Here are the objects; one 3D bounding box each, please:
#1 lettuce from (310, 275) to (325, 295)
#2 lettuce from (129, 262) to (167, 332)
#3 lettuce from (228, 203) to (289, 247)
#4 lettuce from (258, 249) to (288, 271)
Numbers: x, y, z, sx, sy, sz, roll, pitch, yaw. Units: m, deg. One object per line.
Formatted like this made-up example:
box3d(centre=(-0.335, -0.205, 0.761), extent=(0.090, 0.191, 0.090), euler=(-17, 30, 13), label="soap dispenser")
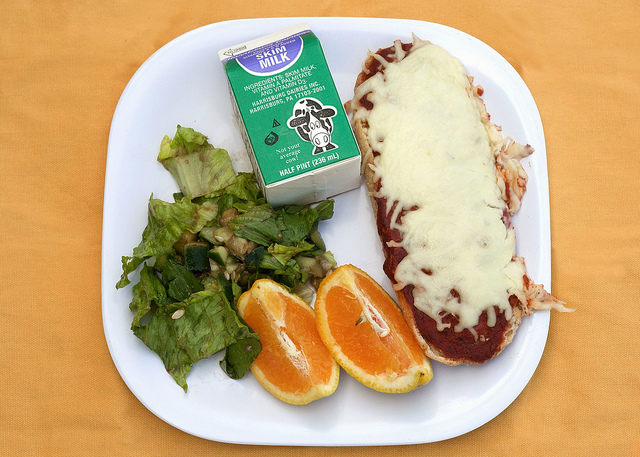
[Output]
box3d(centre=(-0.046, 0.451, 5.576), extent=(0.104, 0.028, 0.126), euler=(-6, 90, 29), label="lettuce")
box3d(centre=(-1.355, 0.534, 5.401), extent=(0.303, 0.126, 0.496), euler=(-3, 85, 42), label="lettuce")
box3d(centre=(-0.478, -0.005, 5.420), extent=(0.423, 0.085, 0.328), euler=(-17, 83, 0), label="lettuce")
box3d(centre=(-0.361, 0.257, 5.428), extent=(0.212, 0.051, 0.146), euler=(17, 85, 4), label="lettuce")
